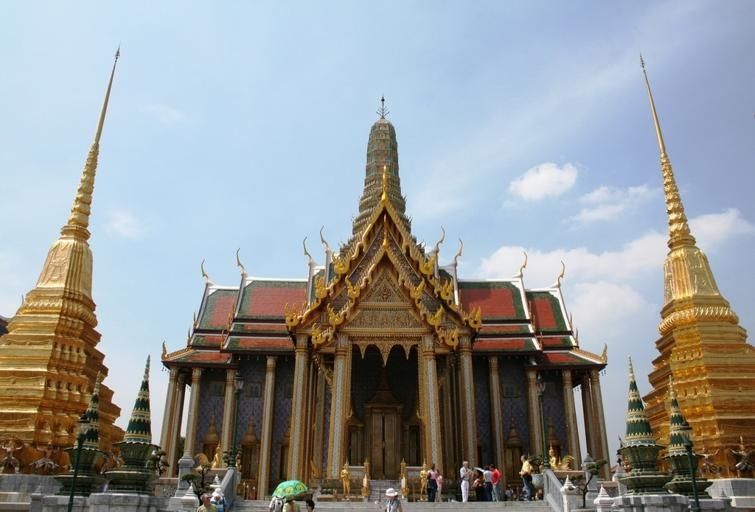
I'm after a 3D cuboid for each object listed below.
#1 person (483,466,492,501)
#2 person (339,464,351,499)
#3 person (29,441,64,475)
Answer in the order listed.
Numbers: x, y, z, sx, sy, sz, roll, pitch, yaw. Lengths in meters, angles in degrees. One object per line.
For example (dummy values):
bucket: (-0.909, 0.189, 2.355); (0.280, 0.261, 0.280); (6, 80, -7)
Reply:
person: (3.408, 7.045, 17.088); (0.277, 0.862, 0.951); (-6, -23, 9)
person: (-0.953, 6.658, 16.457); (0.309, 0.988, 0.620); (0, -23, -4)
person: (-9.824, 6.032, 16.499); (0.786, 0.817, 0.262); (12, -26, -29)
